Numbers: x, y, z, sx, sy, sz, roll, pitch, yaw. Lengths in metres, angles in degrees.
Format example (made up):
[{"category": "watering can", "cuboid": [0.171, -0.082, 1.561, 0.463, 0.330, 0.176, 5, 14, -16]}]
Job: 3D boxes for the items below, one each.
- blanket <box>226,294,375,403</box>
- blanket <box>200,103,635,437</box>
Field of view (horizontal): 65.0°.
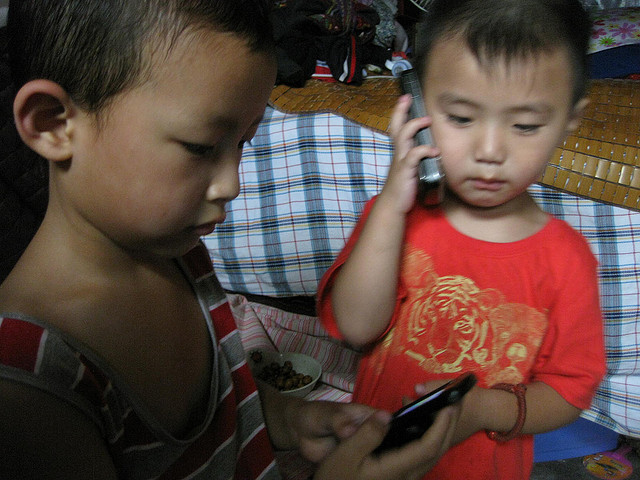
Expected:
[{"category": "blanket", "cuboid": [-0.057, 0.345, 1.546, 0.298, 0.168, 0.473, 3, 19, -3]}, {"category": "blanket", "cuboid": [0.263, 0.265, 2.192, 1.264, 1.359, 1.383, 13, 22, -10]}]
